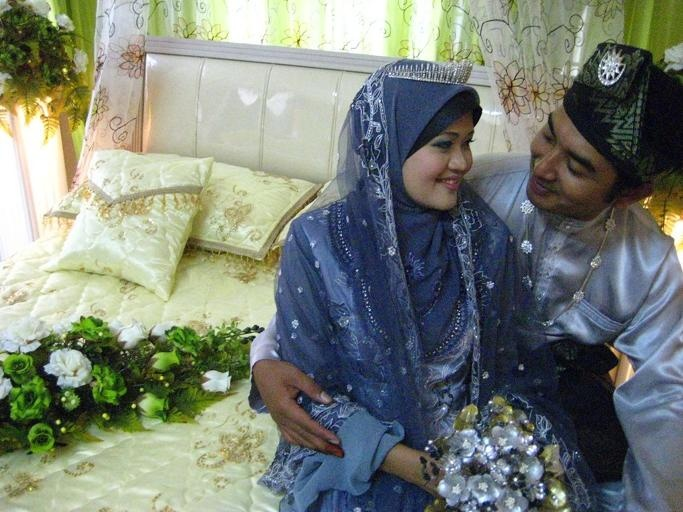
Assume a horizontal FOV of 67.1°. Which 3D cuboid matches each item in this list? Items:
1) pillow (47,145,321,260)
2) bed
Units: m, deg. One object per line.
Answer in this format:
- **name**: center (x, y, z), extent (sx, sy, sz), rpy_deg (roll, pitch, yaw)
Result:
- **pillow**: center (-0.742, -0.319, 2.587), extent (0.993, 0.219, 0.672), rpy_deg (17, 45, 4)
- **bed**: center (-0.188, 0.036, 1.884), extent (0.992, 0.944, 1.454), rpy_deg (10, 45, 16)
